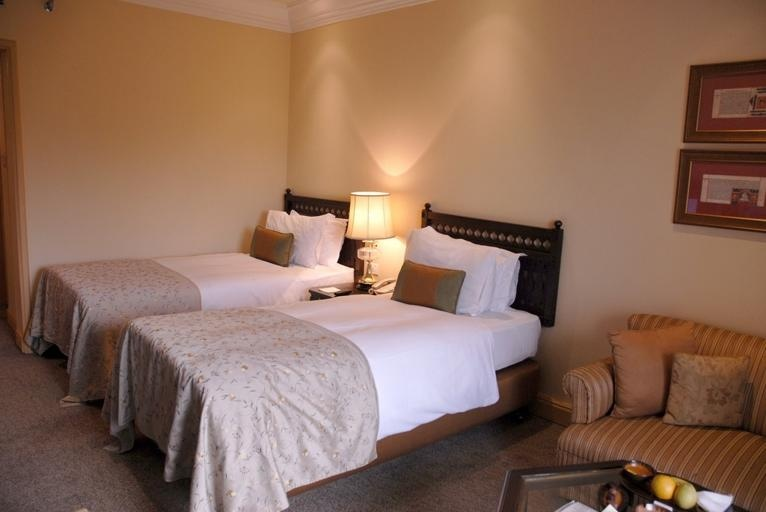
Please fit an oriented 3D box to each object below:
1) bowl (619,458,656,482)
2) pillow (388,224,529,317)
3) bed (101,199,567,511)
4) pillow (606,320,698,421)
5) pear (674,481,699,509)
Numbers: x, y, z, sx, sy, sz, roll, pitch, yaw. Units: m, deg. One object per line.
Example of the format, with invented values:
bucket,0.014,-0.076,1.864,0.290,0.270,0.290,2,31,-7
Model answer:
bowl,1.457,1.226,3.089,0.109,0.041,0.112,-2,10,0
pillow,0.683,0.126,4.784,0.932,0.624,0.536,12,12,37
bed,0.100,0.770,4.811,2.411,1.857,2.213,-1,10,-34
pillow,1.849,0.815,3.693,0.452,0.508,0.176,21,-6,18
pear,1.646,1.303,2.932,0.122,0.126,0.097,9,11,26
